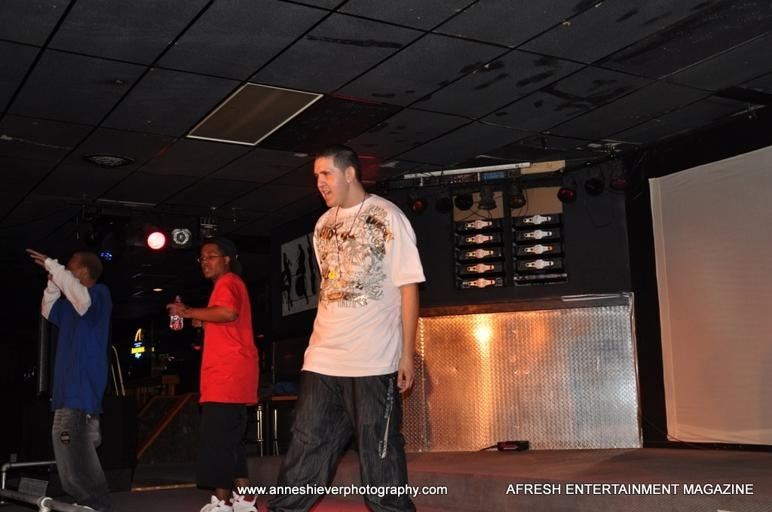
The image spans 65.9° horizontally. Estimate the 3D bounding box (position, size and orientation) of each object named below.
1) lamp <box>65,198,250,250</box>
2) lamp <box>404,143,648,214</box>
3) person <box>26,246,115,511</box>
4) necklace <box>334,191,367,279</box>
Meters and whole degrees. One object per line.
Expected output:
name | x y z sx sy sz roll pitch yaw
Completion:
lamp | -3.482 -0.443 9.243 2.497 0.648 1.325 1 -7 -22
lamp | 1.742 -1.027 7.644 2.712 0.510 0.233 -4 -8 16
person | -2.483 0.965 4.760 0.656 2.023 0.490 -1 -8 -5
necklace | -0.227 -0.092 3.399 0.299 0.365 0.095 -2 -3 38
